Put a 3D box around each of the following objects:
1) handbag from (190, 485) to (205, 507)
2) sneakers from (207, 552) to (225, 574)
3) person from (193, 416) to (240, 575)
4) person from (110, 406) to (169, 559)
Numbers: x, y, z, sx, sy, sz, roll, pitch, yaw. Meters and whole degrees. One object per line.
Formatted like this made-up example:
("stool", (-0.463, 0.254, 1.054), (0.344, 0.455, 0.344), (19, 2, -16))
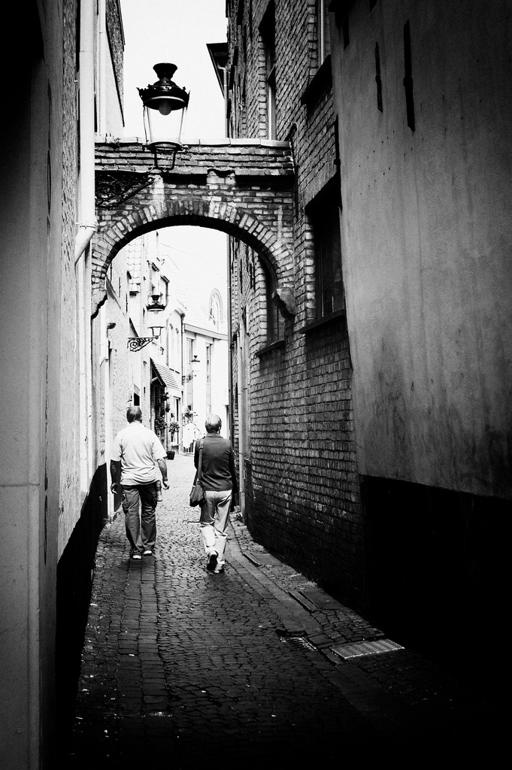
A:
("handbag", (-0.680, 1.267, 8.879), (0.142, 0.280, 0.505), (0, -4, -3))
("sneakers", (-0.448, 1.948, 8.440), (0.184, 0.208, 0.229), (0, -4, -5))
("person", (-0.463, 1.218, 8.866), (0.475, 1.732, 0.934), (0, -3, -3))
("person", (-1.462, 1.177, 9.572), (0.699, 1.860, 0.822), (1, -3, -14))
